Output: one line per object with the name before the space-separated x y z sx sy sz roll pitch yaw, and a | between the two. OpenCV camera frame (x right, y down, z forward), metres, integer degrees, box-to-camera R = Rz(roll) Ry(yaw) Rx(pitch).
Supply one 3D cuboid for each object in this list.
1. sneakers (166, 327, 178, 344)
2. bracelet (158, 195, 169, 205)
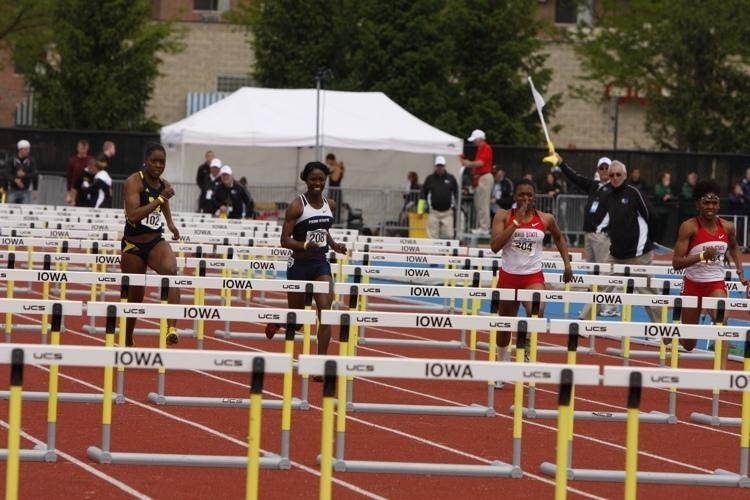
sneakers | -3.148 1.358 20.179 0.120 0.133 0.287 -1 -25 -10
bracelet | -3.433 -0.774 21.064 0.150 0.091 0.116 28 9 -14
